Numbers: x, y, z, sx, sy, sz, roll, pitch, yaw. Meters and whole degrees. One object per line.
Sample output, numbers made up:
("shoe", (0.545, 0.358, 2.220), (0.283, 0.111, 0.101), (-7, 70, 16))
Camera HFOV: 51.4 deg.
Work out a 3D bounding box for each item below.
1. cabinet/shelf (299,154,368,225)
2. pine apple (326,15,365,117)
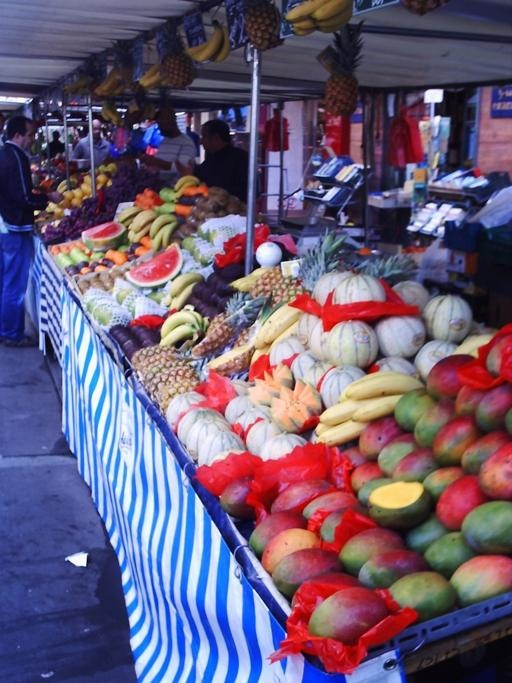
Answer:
("cabinet/shelf", (0.772, -1.608, 5.522), (0.542, 0.661, 1.723), (4, 13, 4))
("pine apple", (0.606, -1.844, 3.629), (0.213, 0.572, 0.215), (1, 30, 10))
